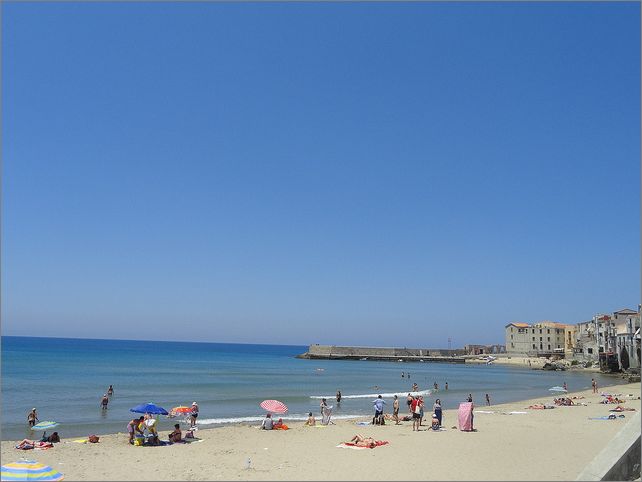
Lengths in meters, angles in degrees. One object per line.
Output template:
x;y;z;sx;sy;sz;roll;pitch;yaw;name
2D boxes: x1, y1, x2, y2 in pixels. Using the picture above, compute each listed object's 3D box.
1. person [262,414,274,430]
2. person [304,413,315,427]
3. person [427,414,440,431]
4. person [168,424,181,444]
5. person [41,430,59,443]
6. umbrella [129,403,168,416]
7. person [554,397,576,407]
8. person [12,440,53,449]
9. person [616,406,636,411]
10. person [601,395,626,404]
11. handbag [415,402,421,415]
-3.442;11.770;35.453;0.705;1.001;0.956;4;-13;-9;person
-0.669;11.943;36.487;0.569;0.764;0.526;-2;-13;5;person
6.822;10.853;32.809;0.754;0.861;1.394;-3;-12;10;person
-8.322;11.199;31.444;0.666;0.968;0.889;20;-34;-36;person
-15.617;11.178;31.160;1.143;0.341;0.547;-8;-4;22;person
-9.751;9.741;31.527;1.750;0.659;2.131;1;-12;-11;umbrella
20.108;13.174;44.653;1.460;0.533;1.106;0;-2;-16;person
-15.713;11.177;29.908;1.323;0.366;0.970;6;-11;-19;person
21.241;11.578;37.883;0.927;0.262;0.685;-4;-15;24;person
23.375;12.703;43.532;1.175;0.493;1.531;4;-8;-1;person
5.952;10.138;33.126;0.301;0.722;0.534;-4;-13;14;handbag
